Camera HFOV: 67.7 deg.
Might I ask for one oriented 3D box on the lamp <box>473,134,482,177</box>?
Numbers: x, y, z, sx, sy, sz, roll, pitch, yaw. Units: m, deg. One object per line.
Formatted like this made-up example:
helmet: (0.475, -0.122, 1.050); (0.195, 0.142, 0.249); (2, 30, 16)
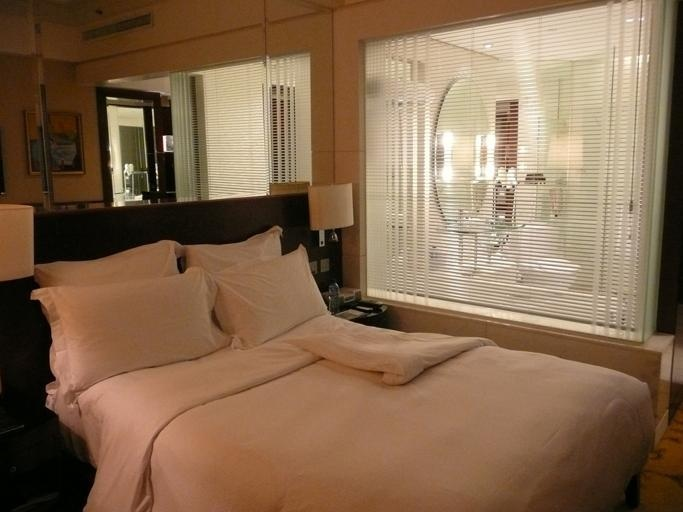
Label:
lamp: (1.128, -0.817, 4.212); (0.074, 0.352, 0.035); (2, 12, 27)

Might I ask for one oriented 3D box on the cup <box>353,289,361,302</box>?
cup: (0.156, 0.375, 4.845); (0.082, 0.089, 0.089); (0, 7, 0)
